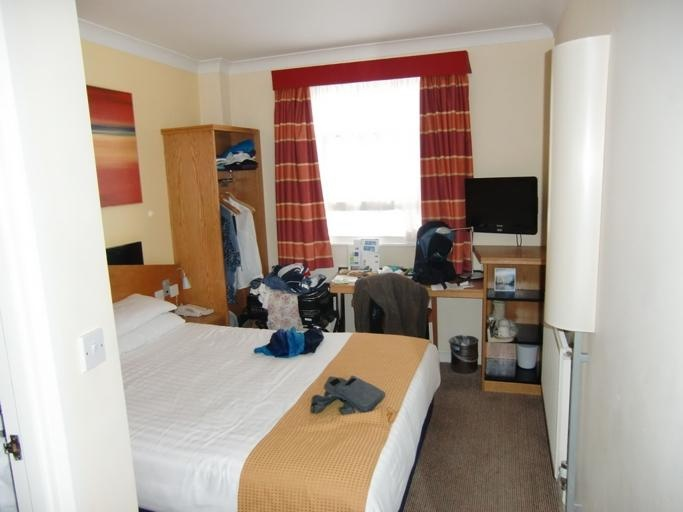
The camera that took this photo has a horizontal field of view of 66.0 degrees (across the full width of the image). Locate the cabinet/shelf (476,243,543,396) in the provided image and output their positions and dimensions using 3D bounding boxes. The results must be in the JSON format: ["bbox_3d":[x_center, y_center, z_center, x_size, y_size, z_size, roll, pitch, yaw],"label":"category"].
[{"bbox_3d":[1.389,0.476,4.373,0.540,1.109,0.678,2,15,18],"label":"cabinet/shelf"}]

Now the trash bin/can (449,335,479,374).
[{"bbox_3d":[1.085,0.860,4.655,0.278,0.279,0.282,-2,3,5],"label":"trash bin/can"}]

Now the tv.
[{"bbox_3d":[1.355,-0.424,4.383,0.463,0.369,0.063,5,13,31],"label":"tv"}]

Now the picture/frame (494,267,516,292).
[{"bbox_3d":[1.307,0.191,4.203,0.190,0.241,0.011,-1,5,12],"label":"picture/frame"}]

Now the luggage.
[{"bbox_3d":[-0.454,0.470,4.836,0.596,0.324,0.473,-1,7,17],"label":"luggage"}]

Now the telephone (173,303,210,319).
[{"bbox_3d":[-1.287,0.476,4.541,0.176,0.059,0.139,5,6,15],"label":"telephone"}]
